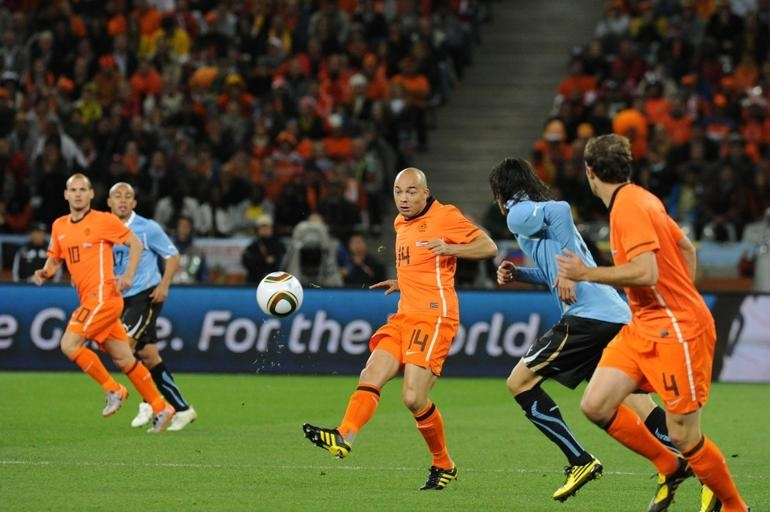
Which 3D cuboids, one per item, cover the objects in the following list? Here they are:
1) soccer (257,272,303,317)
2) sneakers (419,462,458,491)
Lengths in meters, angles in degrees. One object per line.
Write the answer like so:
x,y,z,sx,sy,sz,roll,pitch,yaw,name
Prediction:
-1.214,0.444,12.190,0.520,0.490,0.496,3,-3,-37,soccer
0.560,2.371,11.299,0.490,0.251,0.162,-12,1,-42,sneakers
